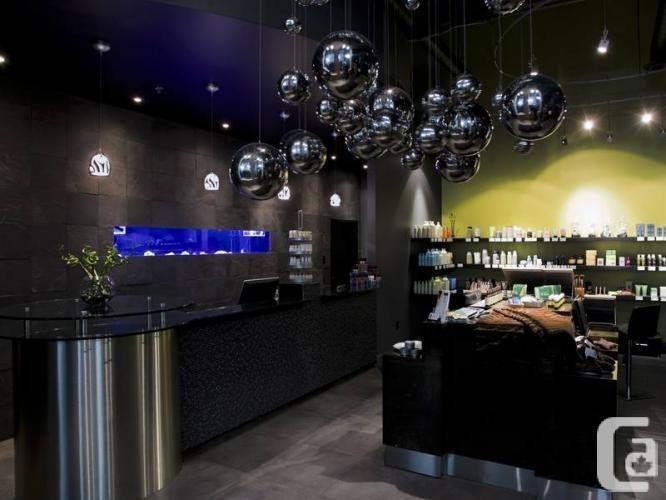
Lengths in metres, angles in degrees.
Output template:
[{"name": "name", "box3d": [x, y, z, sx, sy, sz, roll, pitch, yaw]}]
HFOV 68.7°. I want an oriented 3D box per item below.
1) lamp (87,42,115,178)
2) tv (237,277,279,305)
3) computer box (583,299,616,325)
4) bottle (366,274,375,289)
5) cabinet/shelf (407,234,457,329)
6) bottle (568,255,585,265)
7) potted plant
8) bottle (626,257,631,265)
[{"name": "lamp", "box3d": [-3.142, -1.849, 6.577, 0.229, 1.776, 0.324, 15, 15, 28]}, {"name": "tv", "box3d": [-0.868, 0.506, 5.908, 0.580, 0.300, 0.200, -10, 15, -41]}, {"name": "computer box", "box3d": [4.227, 0.986, 7.684, 0.443, 0.477, 0.276, -1, -6, 28]}, {"name": "bottle", "box3d": [0.610, 0.485, 7.698, 0.126, 0.194, 0.188, 3, 12, 15]}, {"name": "cabinet/shelf", "box3d": [1.970, 0.204, 9.524, 0.313, 0.981, 0.991, -4, -19, 43]}, {"name": "bottle", "box3d": [4.281, 0.235, 8.536, 0.141, 0.171, 0.241, 11, -12, -44]}, {"name": "potted plant", "box3d": [-2.726, 0.278, 5.466, 0.666, 0.809, 0.672, 0, -3, 23]}, {"name": "bottle", "box3d": [4.982, 0.193, 8.176, 0.079, 0.118, 0.203, 7, 13, 32]}]
